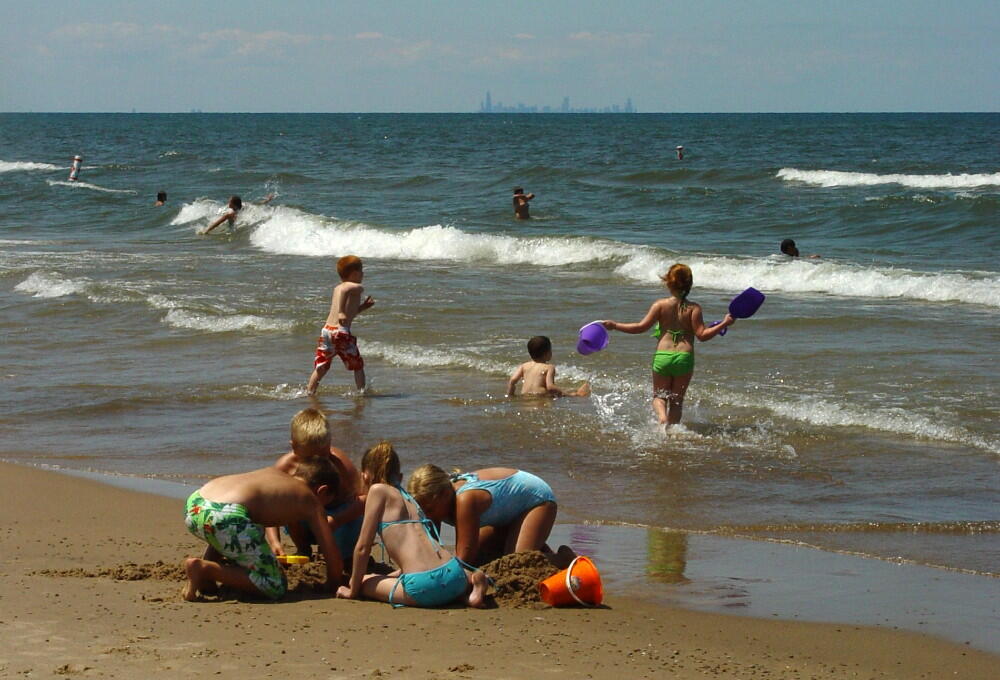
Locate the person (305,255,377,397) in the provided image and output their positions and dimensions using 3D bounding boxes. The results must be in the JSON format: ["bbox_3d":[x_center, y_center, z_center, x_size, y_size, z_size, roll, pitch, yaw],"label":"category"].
[{"bbox_3d":[-1.897,-0.185,15.779,0.749,1.652,1.186,1,9,-7],"label":"person"}]

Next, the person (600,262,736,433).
[{"bbox_3d":[1.805,0.075,14.187,1.027,1.790,0.563,4,10,12],"label":"person"}]

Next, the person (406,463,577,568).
[{"bbox_3d":[-0.173,1.491,11.139,1.434,0.866,0.718,-6,-3,-26],"label":"person"}]

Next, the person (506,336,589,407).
[{"bbox_3d":[0.603,0.354,16.018,0.590,0.770,1.155,0,8,31],"label":"person"}]

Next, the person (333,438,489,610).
[{"bbox_3d":[-0.670,1.489,10.974,1.441,1.176,1.052,-3,15,24],"label":"person"}]

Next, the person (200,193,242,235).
[{"bbox_3d":[-6.141,-2.756,29.572,0.770,0.849,1.724,1,8,-4],"label":"person"}]
